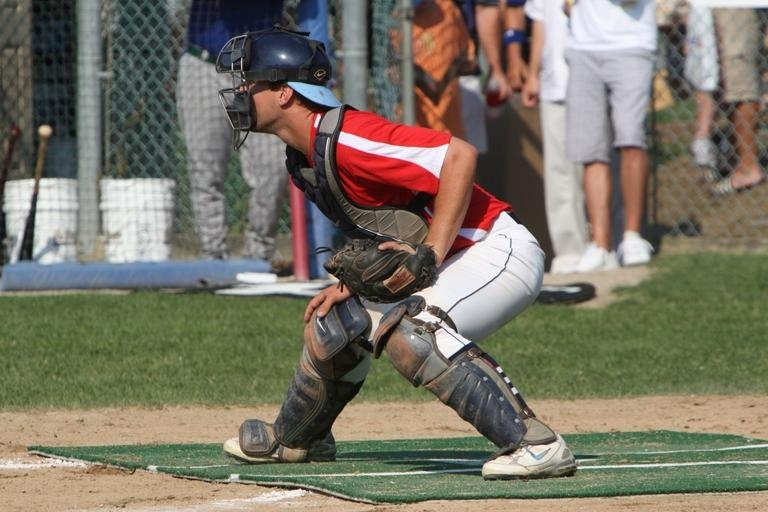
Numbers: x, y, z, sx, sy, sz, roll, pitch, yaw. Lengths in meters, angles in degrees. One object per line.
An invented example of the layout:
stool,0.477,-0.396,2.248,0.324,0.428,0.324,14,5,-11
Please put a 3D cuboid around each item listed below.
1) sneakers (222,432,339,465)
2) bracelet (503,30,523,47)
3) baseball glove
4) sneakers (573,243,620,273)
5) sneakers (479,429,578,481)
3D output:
sneakers,-0.571,1.095,9.739,0.570,0.259,0.218,5,0,-5
bracelet,0.927,-1.516,12.471,0.106,0.080,0.097,0,6,1
baseball glove,-0.016,0.102,9.384,0.597,0.336,0.222,0,14,-1
sneakers,1.484,0.041,12.155,0.338,0.165,0.131,-4,3,10
sneakers,0.786,1.086,9.458,0.549,0.257,0.191,0,0,-13
